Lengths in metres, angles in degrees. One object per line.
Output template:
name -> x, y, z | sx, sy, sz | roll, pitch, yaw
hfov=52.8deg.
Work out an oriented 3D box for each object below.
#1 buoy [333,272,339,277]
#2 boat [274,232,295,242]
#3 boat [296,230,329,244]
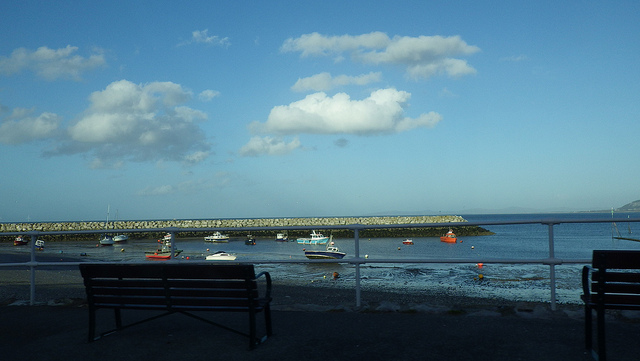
buoy -> 0.753, 4.630, 31.743 | 0.277, 0.251, 0.351 | -3, 1, 4
boat -> -5.706, 8.605, 97.502 | 2.159, 0.931, 2.836 | -1, -8, 5
boat -> -0.834, 8.146, 89.241 | 5.354, 1.836, 1.637 | -2, -2, 0
